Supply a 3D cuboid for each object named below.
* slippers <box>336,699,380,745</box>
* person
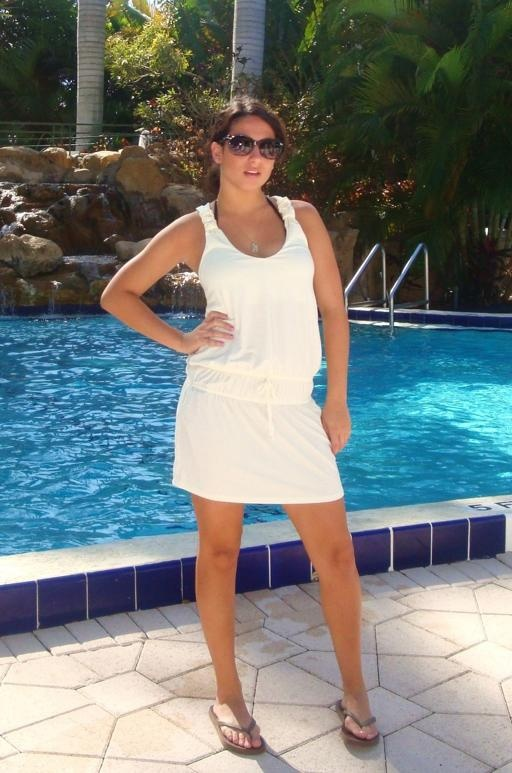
[{"bbox_3d":[0.211,0.769,1.573,0.076,0.051,0.146,-3,5,-30],"label":"slippers"},{"bbox_3d":[-0.040,0.037,1.640,0.590,1.517,0.436,-1,5,-12],"label":"person"}]
